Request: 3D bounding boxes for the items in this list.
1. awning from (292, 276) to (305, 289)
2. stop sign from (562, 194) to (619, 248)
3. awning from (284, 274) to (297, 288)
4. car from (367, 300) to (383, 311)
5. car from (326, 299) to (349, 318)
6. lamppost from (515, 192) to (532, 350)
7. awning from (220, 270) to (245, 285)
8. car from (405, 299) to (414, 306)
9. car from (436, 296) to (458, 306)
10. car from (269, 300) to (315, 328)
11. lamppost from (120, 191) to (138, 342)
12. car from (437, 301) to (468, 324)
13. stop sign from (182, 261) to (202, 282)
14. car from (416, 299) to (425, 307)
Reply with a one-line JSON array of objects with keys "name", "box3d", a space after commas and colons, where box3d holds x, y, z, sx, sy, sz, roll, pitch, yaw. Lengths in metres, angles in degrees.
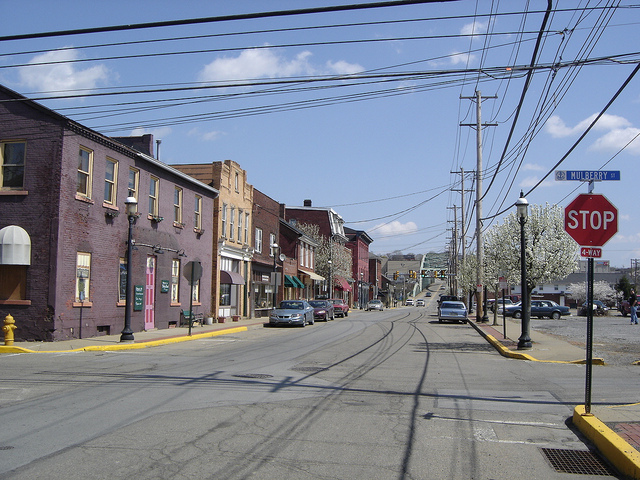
[{"name": "awning", "box3d": [-1.754, 3.551, 55.739, 0.239, 0.944, 1.019, -10, 10, -19]}, {"name": "stop sign", "box3d": [5.189, -0.380, 12.805, 1.063, 1.088, 0.055, 4, 11, 43]}, {"name": "awning", "box3d": [-2.414, 3.267, 53.116, 0.593, 0.853, 2.616, 1, -3, 8]}, {"name": "car", "box3d": [6.382, 7.653, 77.655, 1.222, 0.912, 2.769, -3, -12, 6]}, {"name": "car", "box3d": [1.256, 5.079, 49.319, 1.381, 1.105, 3.230, -2, -9, 9]}, {"name": "lamppost", "box3d": [7.133, 1.025, 23.669, 0.830, 5.513, 0.914, -1, -6, 11]}, {"name": "awning", "box3d": [-5.302, 2.209, 39.445, 0.695, 0.729, 2.991, 1, -3, 6]}, {"name": "car", "box3d": [16.841, 11.759, 126.099, 1.253, 0.986, 2.939, -1, -8, 5]}, {"name": "car", "box3d": [11.822, 5.451, 61.937, 1.359, 1.226, 2.178, 1, -1, 4]}, {"name": "car", "box3d": [-1.572, 3.960, 35.818, 2.157, 1.160, 2.665, 2, -2, -4]}, {"name": "lamppost", "box3d": [-6.851, 1.101, 23.687, 0.632, 5.613, 0.605, 1, -2, 3]}, {"name": "car", "box3d": [8.260, 4.508, 41.621, 1.634, 0.909, 1.393, 1, -2, 6]}, {"name": "stop sign", "box3d": [-5.344, 1.317, 28.369, 0.938, 0.932, 0.223, 4, 0, 1]}, {"name": "car", "box3d": [16.919, 10.626, 112.861, 1.478, 1.232, 3.341, -1, -7, 6]}]
